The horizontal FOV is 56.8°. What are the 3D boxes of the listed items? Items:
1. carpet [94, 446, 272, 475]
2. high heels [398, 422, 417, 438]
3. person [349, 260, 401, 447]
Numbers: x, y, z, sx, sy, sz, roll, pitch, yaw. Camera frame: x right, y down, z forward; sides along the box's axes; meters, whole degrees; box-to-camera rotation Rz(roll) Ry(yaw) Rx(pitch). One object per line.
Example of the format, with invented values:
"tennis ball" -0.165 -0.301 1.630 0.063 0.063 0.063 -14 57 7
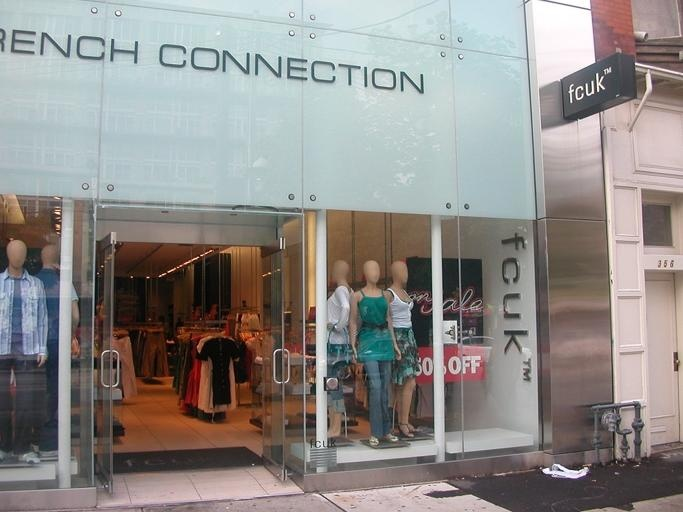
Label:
"carpet" -1.804 2.370 7.370 1.683 0.084 0.975 0 0 -13
"high heels" 0.692 1.858 6.712 0.099 0.079 0.211 2 0 -41
"person" 0.331 1.020 6.667 0.462 1.923 0.165 0 0 -15
